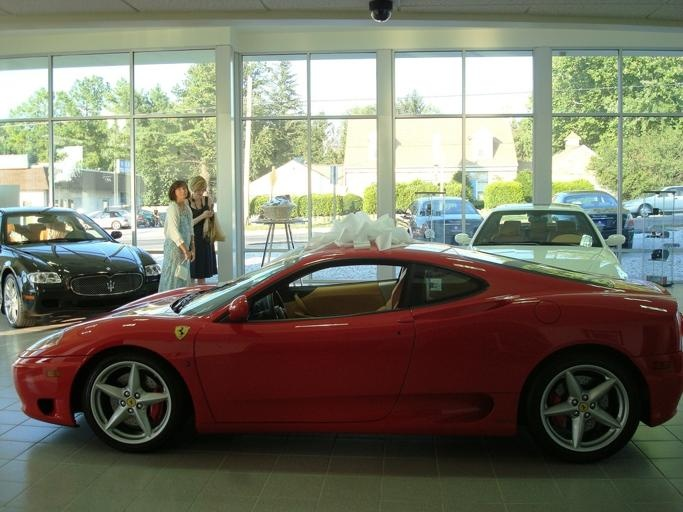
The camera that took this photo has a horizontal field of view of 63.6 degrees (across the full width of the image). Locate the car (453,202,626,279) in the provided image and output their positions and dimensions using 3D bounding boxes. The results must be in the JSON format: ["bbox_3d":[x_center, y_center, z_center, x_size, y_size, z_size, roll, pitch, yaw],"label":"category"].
[{"bbox_3d":[2.758,-0.221,7.229,1.175,0.690,2.272,0,-2,14],"label":"car"}]

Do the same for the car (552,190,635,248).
[{"bbox_3d":[6.200,-1.017,13.836,1.329,0.901,2.913,0,6,6],"label":"car"}]

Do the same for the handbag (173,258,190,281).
[{"bbox_3d":[-2.269,0.197,7.708,0.124,0.284,0.331,4,-1,33],"label":"handbag"}]

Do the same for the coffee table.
[{"bbox_3d":[-1.571,-0.446,13.717,1.058,0.965,0.954,-3,15,-13],"label":"coffee table"}]
